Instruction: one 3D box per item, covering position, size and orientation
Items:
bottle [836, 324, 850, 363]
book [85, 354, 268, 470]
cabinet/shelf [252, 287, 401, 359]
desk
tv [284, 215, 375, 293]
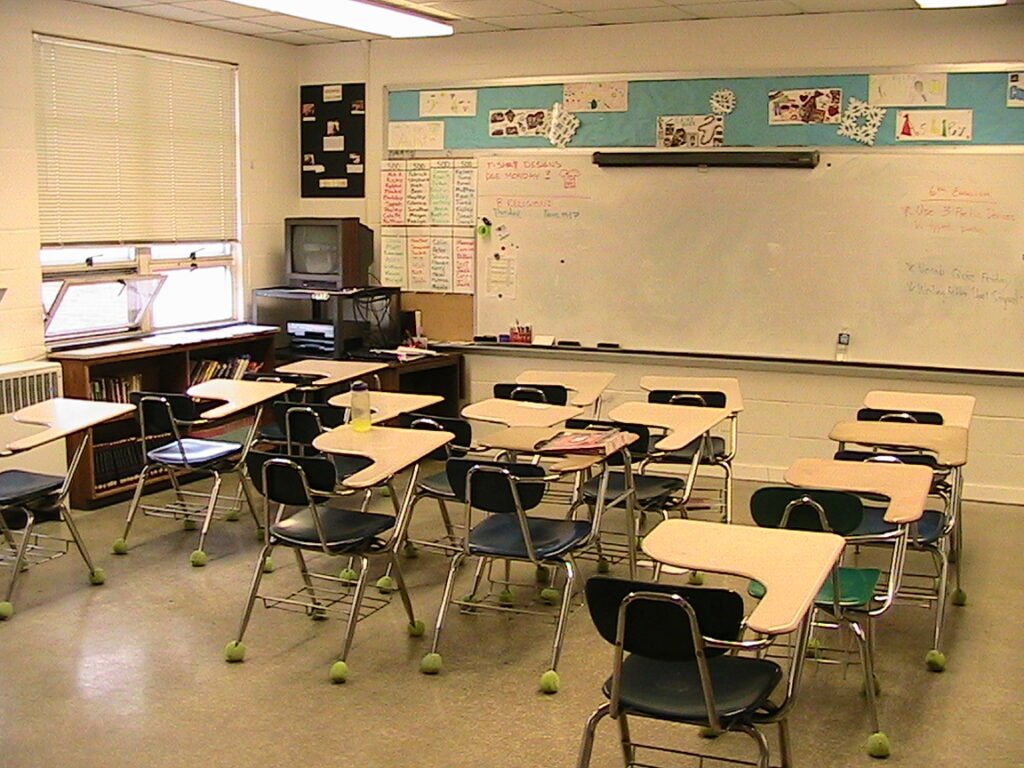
[{"bbox_3d":[2.655,-0.312,6.374,0.112,0.254,0.068,4,13,14],"label":"bottle"},{"bbox_3d":[-2.456,0.202,5.687,0.242,0.422,1.036,4,11,15],"label":"book"},{"bbox_3d":[-1.743,-0.704,7.442,0.955,0.402,0.945,11,16,38],"label":"cabinet/shelf"},{"bbox_3d":[-1.059,0.156,7.227,0.664,0.792,1.082,6,12,32],"label":"desk"},{"bbox_3d":[-1.702,-1.168,7.271,0.882,0.574,0.809,4,7,33],"label":"tv"}]
